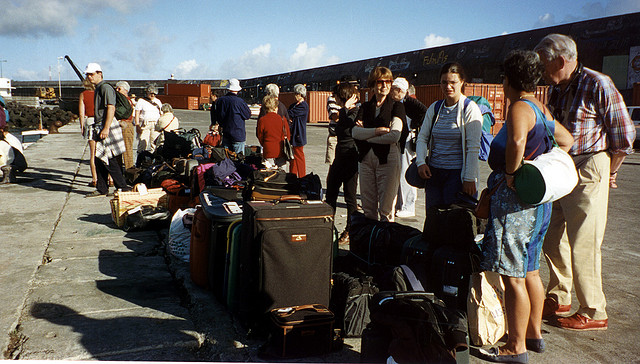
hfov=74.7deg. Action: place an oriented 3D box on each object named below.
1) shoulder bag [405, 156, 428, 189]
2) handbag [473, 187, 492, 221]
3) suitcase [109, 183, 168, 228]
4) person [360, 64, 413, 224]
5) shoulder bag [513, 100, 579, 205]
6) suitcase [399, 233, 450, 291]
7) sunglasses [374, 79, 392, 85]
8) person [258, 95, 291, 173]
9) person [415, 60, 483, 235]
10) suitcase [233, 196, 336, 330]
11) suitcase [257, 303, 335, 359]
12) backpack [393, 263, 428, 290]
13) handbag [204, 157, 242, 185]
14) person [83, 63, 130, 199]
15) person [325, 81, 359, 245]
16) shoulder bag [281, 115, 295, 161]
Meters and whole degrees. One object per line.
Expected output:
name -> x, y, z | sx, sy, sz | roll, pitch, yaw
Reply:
shoulder bag -> 1.343, -0.131, 5.805 | 0.223, 0.423, 0.315 | -11, 16, -40
handbag -> 1.769, 0.214, 4.604 | 0.152, 0.312, 0.326 | 35, -4, 26
suitcase -> -3.224, 0.375, 7.523 | 0.408, 0.661, 1.037 | -2, 4, 42
person -> 0.941, -0.525, 6.274 | 0.706, 2.294, 0.512 | 1, 12, 11
shoulder bag -> 2.324, -0.299, 4.376 | 0.685, 1.046, 0.368 | -12, 3, -28
suitcase -> 1.172, 0.860, 5.090 | 0.597, 1.029, 0.652 | 0, -2, 33
sunglasses -> 0.905, -1.434, 6.013 | 0.238, 0.068, 0.074 | -2, 12, -7
person -> -0.875, -0.868, 7.901 | 0.596, 1.500, 0.827 | 1, 12, 10
person -> 1.683, -0.602, 5.529 | 0.824, 1.886, 0.528 | 5, 13, 25
suitcase -> -0.431, 0.976, 4.988 | 1.068, 1.454, 0.926 | 1, 3, -16
suitcase -> -0.209, 1.579, 4.475 | 0.765, 0.433, 0.540 | 0, 0, -20
backpack -> 1.029, 1.126, 4.754 | 0.375, 0.290, 0.260 | 2, 13, 13
handbag -> -1.562, -0.131, 6.701 | 0.471, 0.455, 0.204 | -36, -3, -33
person -> -4.575, -1.061, 8.865 | 0.712, 2.787, 0.873 | -7, 13, -25
person -> 0.354, -0.323, 6.815 | 0.512, 2.542, 0.893 | 0, 12, 6
shoulder bag -> -0.631, -0.793, 7.882 | 0.159, 0.793, 0.301 | -7, 13, -23
